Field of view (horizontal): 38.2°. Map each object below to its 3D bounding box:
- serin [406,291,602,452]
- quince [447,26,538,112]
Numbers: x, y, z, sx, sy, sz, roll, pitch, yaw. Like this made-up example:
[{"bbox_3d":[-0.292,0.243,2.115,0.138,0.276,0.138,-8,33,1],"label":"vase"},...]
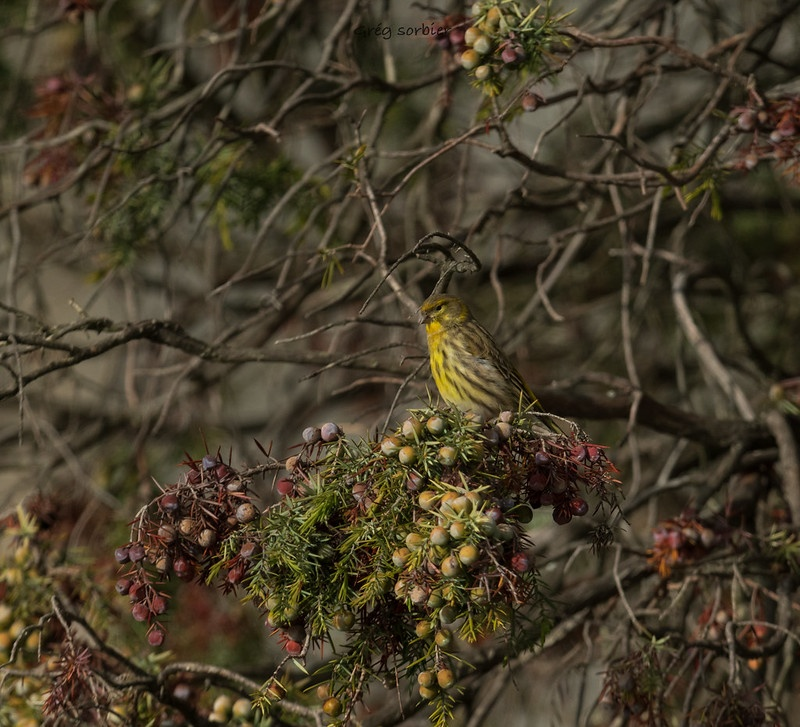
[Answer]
[{"bbox_3d":[0.297,0.041,4.543,0.416,0.620,0.271,-2,-6,32],"label":"serin"},{"bbox_3d":[0.318,-1.035,3.962,0.296,0.348,0.301,-11,11,-37],"label":"quince"}]
